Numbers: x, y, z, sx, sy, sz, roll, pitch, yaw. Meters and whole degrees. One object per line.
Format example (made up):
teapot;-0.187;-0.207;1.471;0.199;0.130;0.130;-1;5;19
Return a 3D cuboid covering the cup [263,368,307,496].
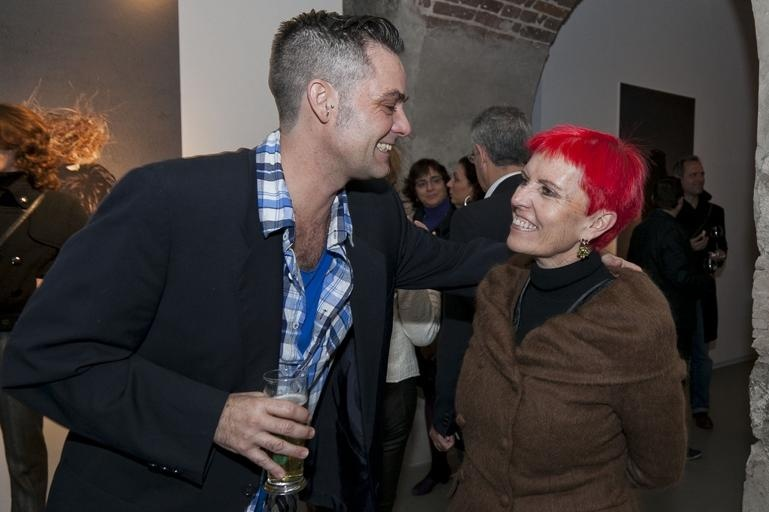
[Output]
cup;-0.355;0.629;2.097;0.154;0.439;0.266;0;-2;-10
